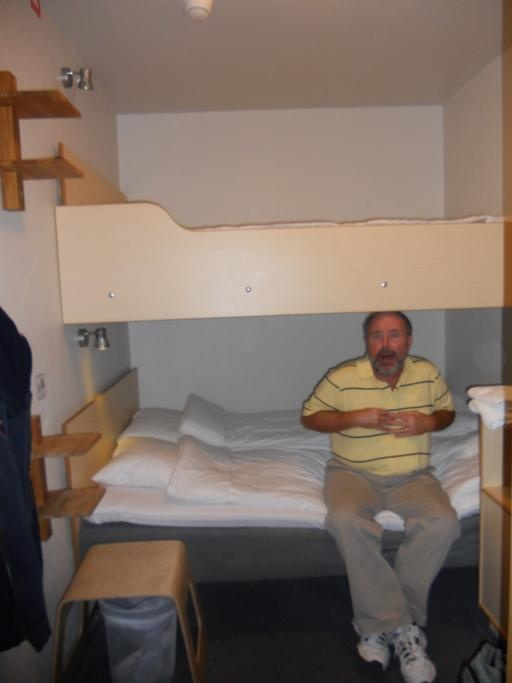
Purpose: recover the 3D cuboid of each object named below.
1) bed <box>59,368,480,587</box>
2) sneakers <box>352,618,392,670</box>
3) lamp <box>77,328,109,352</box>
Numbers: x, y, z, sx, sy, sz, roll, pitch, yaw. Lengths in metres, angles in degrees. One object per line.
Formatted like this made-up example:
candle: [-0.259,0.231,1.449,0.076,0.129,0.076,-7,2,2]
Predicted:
bed: [0.087,0.620,2.588,1.346,0.502,0.971,-4,22,-3]
sneakers: [0.425,1.100,2.165,0.135,0.127,0.133,3,15,19]
lamp: [-0.749,-0.004,2.608,0.196,0.113,0.081,0,9,-5]
